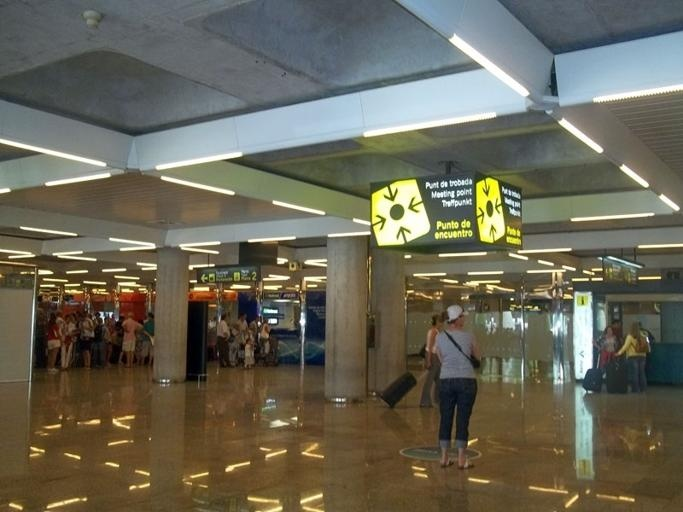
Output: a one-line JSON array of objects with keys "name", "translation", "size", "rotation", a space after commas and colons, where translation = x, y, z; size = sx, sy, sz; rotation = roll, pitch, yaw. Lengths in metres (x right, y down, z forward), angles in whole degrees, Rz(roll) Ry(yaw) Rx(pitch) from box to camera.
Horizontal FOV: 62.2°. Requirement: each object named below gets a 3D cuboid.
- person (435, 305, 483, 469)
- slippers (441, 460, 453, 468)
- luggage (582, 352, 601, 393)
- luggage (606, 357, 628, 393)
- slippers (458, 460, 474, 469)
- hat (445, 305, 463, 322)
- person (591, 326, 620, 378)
[{"name": "person", "translation": [1.499, 1.695, 7.288], "size": [0.543, 2.081, 0.431], "rotation": [-1, -4, 11]}, {"name": "slippers", "translation": [1.380, 2.711, 7.406], "size": [0.077, 0.093, 0.214], "rotation": [2, 1, 30]}, {"name": "luggage", "translation": [7.404, 3.703, 16.724], "size": [0.452, 0.868, 0.561], "rotation": [1, -29, 29]}, {"name": "luggage", "translation": [8.036, 3.472, 16.532], "size": [0.589, 1.003, 0.411], "rotation": [-1, -4, 9]}, {"name": "slippers", "translation": [1.607, 2.701, 7.333], "size": [0.224, 0.091, 0.084], "rotation": [2, -3, -43]}, {"name": "hat", "translation": [1.499, 0.753, 7.494], "size": [0.164, 0.136, 0.233], "rotation": [5, 25, 42]}, {"name": "person", "translation": [8.085, 2.991, 17.086], "size": [0.785, 1.653, 0.630], "rotation": [0, 12, 20]}]
